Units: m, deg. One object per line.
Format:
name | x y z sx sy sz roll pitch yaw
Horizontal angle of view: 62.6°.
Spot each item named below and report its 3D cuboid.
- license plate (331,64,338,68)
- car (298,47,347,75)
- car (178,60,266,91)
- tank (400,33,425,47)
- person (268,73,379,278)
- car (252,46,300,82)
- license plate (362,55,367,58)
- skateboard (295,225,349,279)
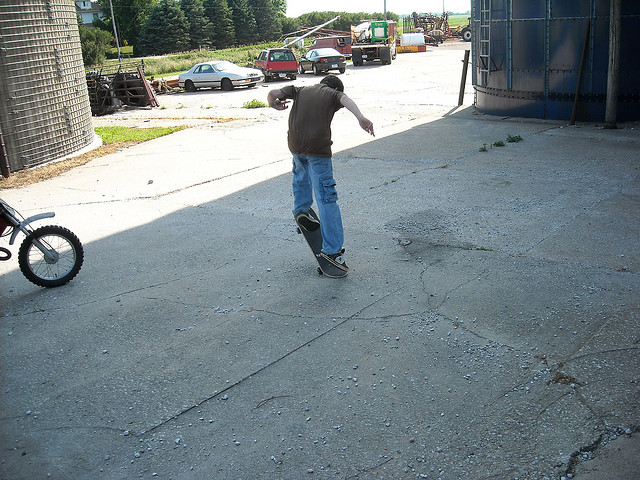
license plate | 0.954 -10.779 32.694 0.484 0.227 0.363 6 27 25
car | 0.216 -11.238 33.328 1.391 1.457 3.242 -22 28 -29
car | -5.373 -8.864 28.511 4.306 1.436 1.476 10 29 31
tank | 8.719 -18.947 50.029 1.012 1.056 2.253 -24 30 -32
person | 0.045 -0.723 6.156 0.839 2.055 1.321 -11 26 -7
car | -2.668 -10.720 31.678 1.678 1.225 2.604 -6 33 -14
license plate | 3.267 -13.246 38.055 0.296 0.191 0.208 2 26 17
skateboard | 0.007 0.086 6.400 0.280 0.158 1.051 -19 45 -11
